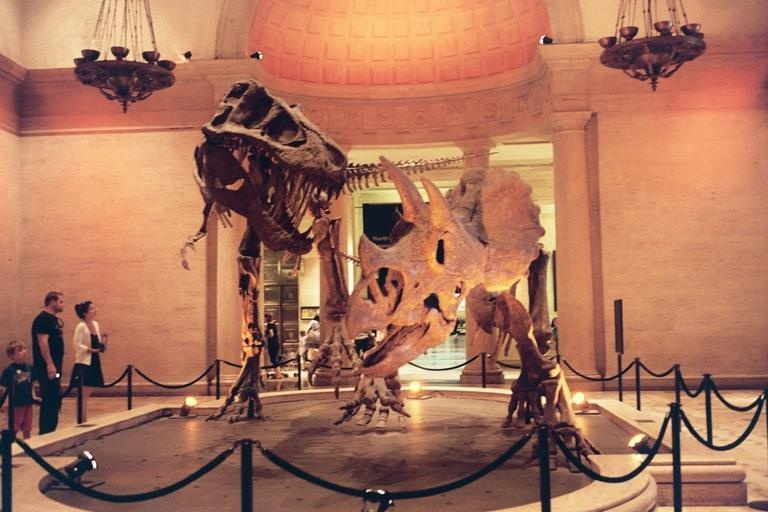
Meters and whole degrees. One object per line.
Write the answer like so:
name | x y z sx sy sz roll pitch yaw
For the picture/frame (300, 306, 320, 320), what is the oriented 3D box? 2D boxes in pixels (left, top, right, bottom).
picture/frame | -1.936 1.473 20.838 0.644 0.366 0.057 1 1 3

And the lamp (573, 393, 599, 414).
lamp | 3.148 2.354 12.928 0.427 0.238 0.383 1 -3 0

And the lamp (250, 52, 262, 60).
lamp | -2.511 -3.913 15.777 0.165 0.143 0.302 2 3 -43

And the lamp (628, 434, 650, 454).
lamp | 3.330 2.484 10.674 0.276 0.180 0.243 -14 7 28

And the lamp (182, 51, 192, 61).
lamp | -3.815 -3.929 15.752 0.174 0.135 0.197 -13 -27 -4

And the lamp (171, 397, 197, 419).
lamp | -3.135 2.389 12.875 0.308 0.277 0.367 -2 3 -12
